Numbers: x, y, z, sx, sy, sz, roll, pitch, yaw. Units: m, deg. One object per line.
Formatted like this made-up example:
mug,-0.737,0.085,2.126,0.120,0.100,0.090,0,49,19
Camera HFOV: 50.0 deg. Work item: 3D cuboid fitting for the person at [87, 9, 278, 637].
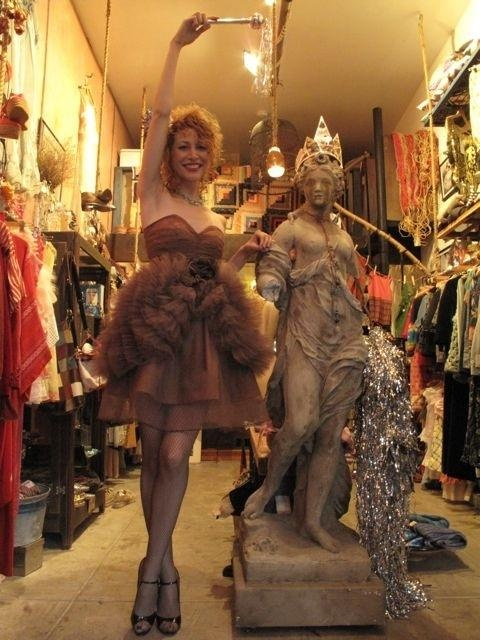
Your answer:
person,-0.149,-0.020,1.655,0.424,1.811,0.516,-7,-13,38

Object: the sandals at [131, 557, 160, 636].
sandals,-0.261,0.751,1.429,0.075,0.192,0.116,2,-10,-10

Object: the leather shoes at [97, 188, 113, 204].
leather shoes,-0.965,-0.881,3.691,0.086,0.131,0.146,1,-12,-17

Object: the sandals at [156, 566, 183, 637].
sandals,-0.198,0.783,1.438,0.068,0.147,0.123,2,-10,-7

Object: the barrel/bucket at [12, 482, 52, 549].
barrel/bucket,-0.830,0.825,2.137,0.159,0.135,0.179,4,-4,10
